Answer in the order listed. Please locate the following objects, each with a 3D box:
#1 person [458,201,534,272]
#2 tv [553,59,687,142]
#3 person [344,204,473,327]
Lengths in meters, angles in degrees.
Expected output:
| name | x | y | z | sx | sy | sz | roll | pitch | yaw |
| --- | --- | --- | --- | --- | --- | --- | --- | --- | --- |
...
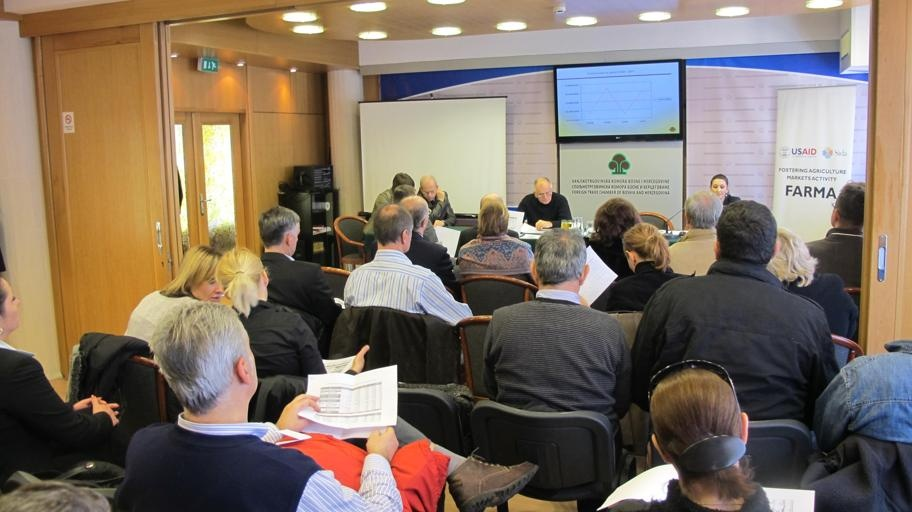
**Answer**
| name | x | y | z | sx | sy | sz | roll | pitch | yaw |
| --- | --- | --- | --- | --- | --- | --- | --- | --- | --- |
| person | 0.258 | -0.048 | 5.446 | 0.661 | 0.767 | 0.503 | -2 | 2 | -15 |
| tv | 2.341 | -2.182 | 8.884 | 1.416 | 0.732 | 0.136 | 1 | 6 | 18 |
| person | -0.374 | 0.083 | 5.091 | 1.140 | 0.828 | 0.565 | 4 | 17 | 12 |
